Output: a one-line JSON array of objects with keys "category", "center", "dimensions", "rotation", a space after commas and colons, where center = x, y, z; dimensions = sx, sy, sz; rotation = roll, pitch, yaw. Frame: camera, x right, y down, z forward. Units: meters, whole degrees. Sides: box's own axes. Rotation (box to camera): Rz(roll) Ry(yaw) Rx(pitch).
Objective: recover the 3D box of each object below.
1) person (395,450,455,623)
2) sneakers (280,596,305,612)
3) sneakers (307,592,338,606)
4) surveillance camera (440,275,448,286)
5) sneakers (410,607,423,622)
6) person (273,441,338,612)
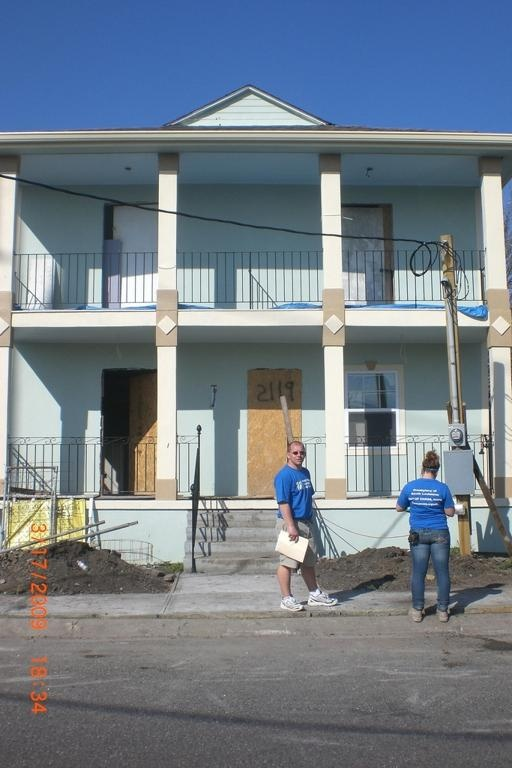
[{"category": "person", "center": [1.538, 1.367, 7.816], "dimensions": [0.495, 1.505, 0.424], "rotation": [-2, -8, 12]}, {"category": "sneakers", "center": [0.338, 2.062, 8.046], "dimensions": [0.220, 0.108, 0.093], "rotation": [-5, -11, 35]}, {"category": "sneakers", "center": [0.645, 2.054, 8.262], "dimensions": [0.313, 0.171, 0.130], "rotation": [1, -3, -4]}, {"category": "surveillance camera", "center": [2.399, -1.322, 11.036], "dimensions": [0.066, 0.112, 0.109], "rotation": [-3, 19, 11]}, {"category": "sneakers", "center": [1.419, 2.042, 7.636], "dimensions": [0.089, 0.094, 0.204], "rotation": [0, -20, 8]}, {"category": "person", "center": [0.455, 1.312, 8.034], "dimensions": [0.533, 1.582, 0.897], "rotation": [-1, -7, 4]}]
